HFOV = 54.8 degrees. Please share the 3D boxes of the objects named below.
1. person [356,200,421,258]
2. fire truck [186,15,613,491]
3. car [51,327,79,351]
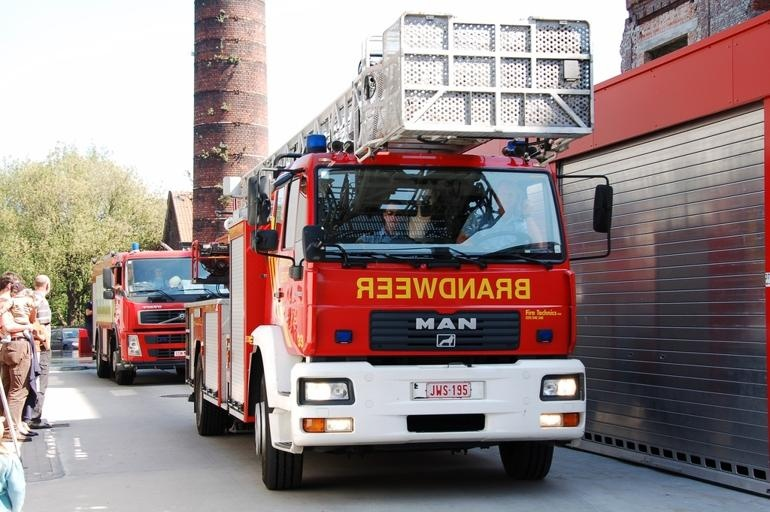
[{"bbox_3d":[0.091,-0.283,7.904,0.793,0.502,0.167,-2,-9,-6],"label":"person"},{"bbox_3d":[-1.065,0.512,12.630,4.057,5.400,10.687,5,-7,-22],"label":"fire truck"},{"bbox_3d":[-14.166,3.759,32.881,1.318,0.908,2.653,3,-10,-26],"label":"car"}]
